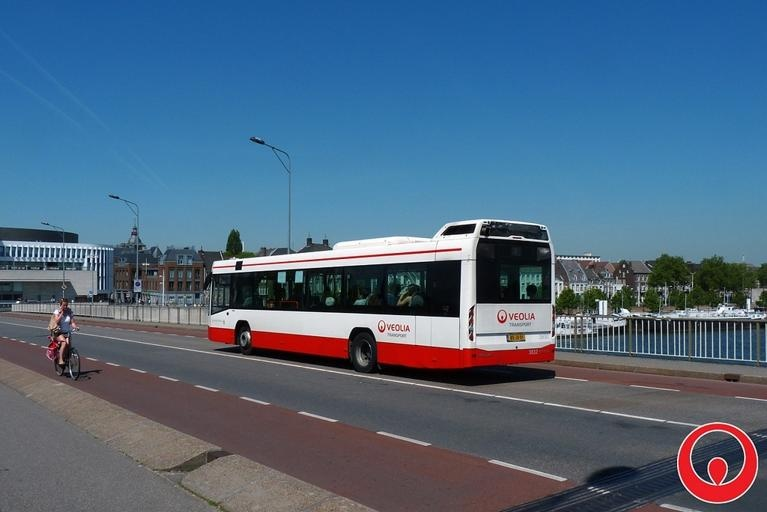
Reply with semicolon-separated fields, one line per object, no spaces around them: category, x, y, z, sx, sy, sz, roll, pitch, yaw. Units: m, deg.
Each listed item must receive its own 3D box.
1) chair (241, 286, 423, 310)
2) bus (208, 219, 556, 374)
chair;-1.428;1.305;19.609;4.152;0.668;0.840;-2;-8;45
bus;-1.534;1.399;21.819;4.136;4.362;14.313;4;-4;-39
